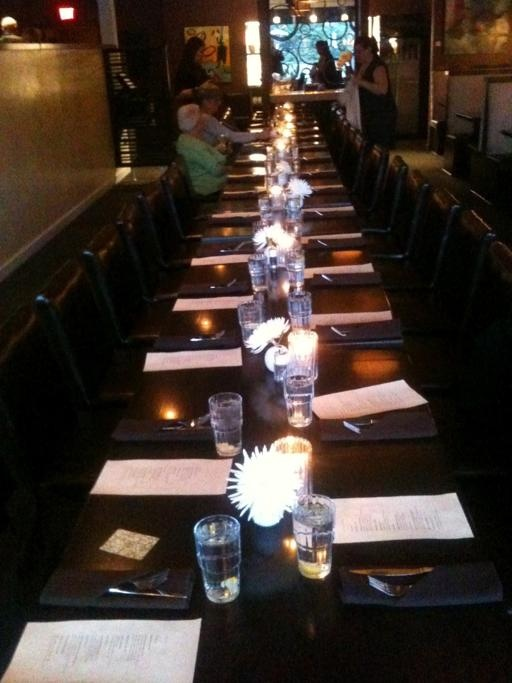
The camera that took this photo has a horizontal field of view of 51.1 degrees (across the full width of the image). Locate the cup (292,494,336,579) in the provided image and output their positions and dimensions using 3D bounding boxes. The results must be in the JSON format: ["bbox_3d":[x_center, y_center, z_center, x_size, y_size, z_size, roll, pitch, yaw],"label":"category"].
[{"bbox_3d":[0.089,0.294,0.827,0.059,0.121,0.098,0,27,7],"label":"cup"}]

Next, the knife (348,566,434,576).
[{"bbox_3d":[0.200,0.341,0.791,0.123,0.012,0.014,2,-1,-3],"label":"knife"}]

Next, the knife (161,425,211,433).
[{"bbox_3d":[-0.174,0.204,1.258,0.069,0.007,0.038,2,2,-1],"label":"knife"}]

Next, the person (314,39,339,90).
[{"bbox_3d":[1.306,-5.162,9.959,0.378,0.782,0.598,-6,27,-4],"label":"person"}]

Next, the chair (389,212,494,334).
[{"bbox_3d":[0.847,-0.307,2.457,0.338,0.451,0.654,-4,50,11],"label":"chair"}]

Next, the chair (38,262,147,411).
[{"bbox_3d":[-0.624,-0.010,2.042,0.234,0.275,0.699,-12,58,-4],"label":"chair"}]

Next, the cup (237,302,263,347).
[{"bbox_3d":[-0.019,-0.052,1.696,0.107,0.172,0.111,-1,16,0],"label":"cup"}]
